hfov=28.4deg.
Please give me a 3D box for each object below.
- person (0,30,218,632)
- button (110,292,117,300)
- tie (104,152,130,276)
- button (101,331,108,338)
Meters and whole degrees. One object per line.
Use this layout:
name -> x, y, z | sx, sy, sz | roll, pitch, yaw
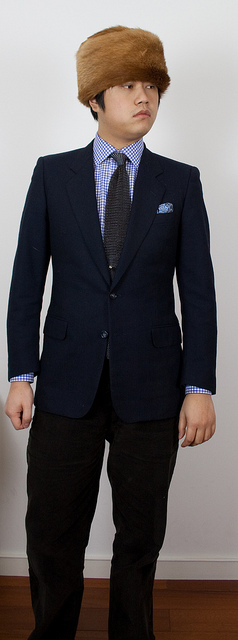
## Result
person -> -0.015, 0.071, 1.163 | 0.512, 1.504, 0.269 | 0, 0, -18
button -> -0.014, -0.054, 1.062 | 0.015, 0.016, 0.005 | 0, 0, -31
tie -> -0.005, -0.253, 1.104 | 0.057, 0.296, 0.060 | 0, 0, 1
button -> -0.034, 0.033, 1.066 | 0.014, 0.014, 0.005 | 0, 0, -5
